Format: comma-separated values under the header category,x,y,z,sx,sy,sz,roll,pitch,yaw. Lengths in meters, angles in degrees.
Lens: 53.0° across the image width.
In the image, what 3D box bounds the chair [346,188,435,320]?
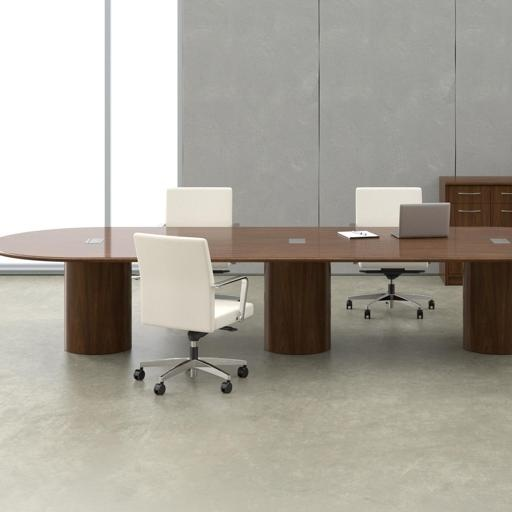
category,x,y,z,sx,sy,sz,roll,pitch,yaw
chair,1.386,-0.028,5.218,0.768,1.234,0.795,-4,-17,33

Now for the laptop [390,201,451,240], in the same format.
category,x,y,z,sx,sy,sz,roll,pitch,yaw
laptop,1.288,-0.211,3.906,0.369,0.263,0.325,-3,-25,27
